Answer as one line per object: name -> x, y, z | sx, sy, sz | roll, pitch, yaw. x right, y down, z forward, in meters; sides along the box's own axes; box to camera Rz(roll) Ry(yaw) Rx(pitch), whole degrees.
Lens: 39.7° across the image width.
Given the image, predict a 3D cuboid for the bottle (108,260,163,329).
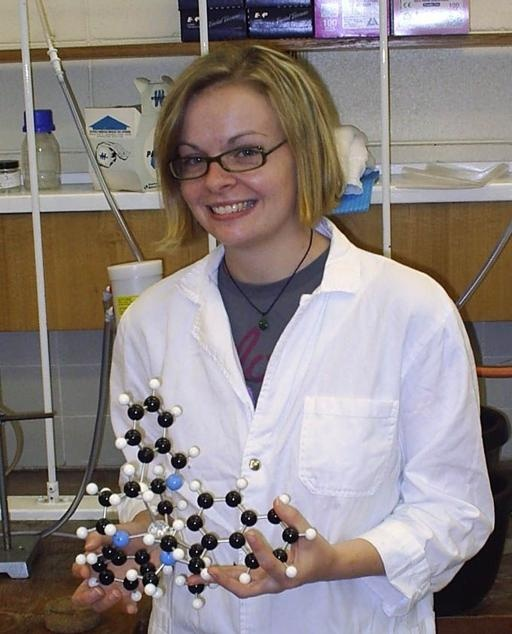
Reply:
bottle -> -0.236, -0.055, 1.608 | 0.149, 0.133, 0.135 | -7, 3, -2
